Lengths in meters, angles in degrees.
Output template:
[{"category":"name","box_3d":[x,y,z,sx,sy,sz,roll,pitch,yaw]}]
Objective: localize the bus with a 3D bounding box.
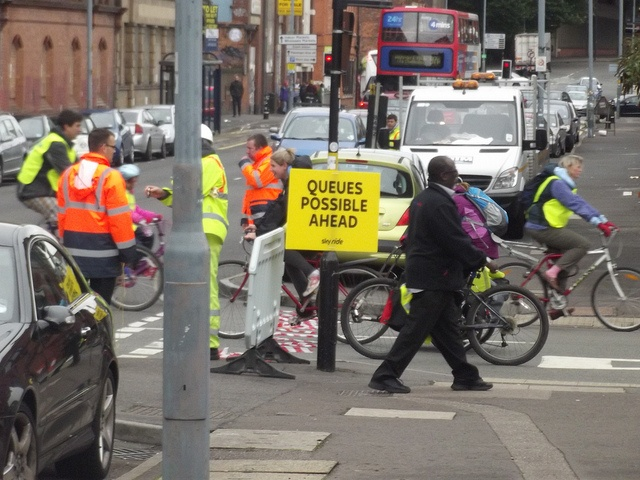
[{"category":"bus","box_3d":[3.268,-5.691,30.741,1.680,2.524,5.262,1,3,16]}]

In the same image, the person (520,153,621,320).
[{"category":"person","box_3d":[2.972,-0.010,12.449,1.028,1.918,1.088,7,14,9]}]

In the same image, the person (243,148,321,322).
[{"category":"person","box_3d":[-0.336,-0.119,11.314,0.833,1.874,0.894,4,18,-6]}]

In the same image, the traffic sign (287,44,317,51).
[{"category":"traffic sign","box_3d":[-0.643,-6.261,33.002,0.963,0.148,0.837,3,8,13]}]

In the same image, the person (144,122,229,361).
[{"category":"person","box_3d":[-1.468,-0.099,10.326,1.017,2.713,1.001,5,15,1]}]

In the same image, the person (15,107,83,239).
[{"category":"person","box_3d":[-3.396,-1.023,13.105,0.736,1.883,0.746,-5,16,-21]}]

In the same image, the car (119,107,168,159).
[{"category":"car","box_3d":[-5.723,-3.577,33.765,0.883,0.843,1.980,-2,8,5]}]

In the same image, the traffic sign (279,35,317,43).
[{"category":"traffic sign","box_3d":[-0.700,-6.415,32.633,1.145,0.299,0.773,0,8,-6]}]

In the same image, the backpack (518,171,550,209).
[{"category":"backpack","box_3d":[2.615,-0.572,12.465,0.353,0.477,0.505,-6,-12,35]}]

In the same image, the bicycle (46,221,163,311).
[{"category":"bicycle","box_3d":[-2.710,0.473,12.649,1.841,1.143,0.841,2,12,4]}]

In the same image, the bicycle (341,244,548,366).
[{"category":"bicycle","box_3d":[1.327,0.738,10.969,2.029,1.253,1.020,1,1,9]}]

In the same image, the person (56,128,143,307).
[{"category":"person","box_3d":[-2.011,-0.239,9.350,0.634,1.658,0.619,0,1,-26]}]

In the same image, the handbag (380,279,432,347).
[{"category":"handbag","box_3d":[0.843,0.685,10.019,0.621,0.614,0.394,2,11,0]}]

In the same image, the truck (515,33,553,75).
[{"category":"truck","box_3d":[7.218,-6.449,34.908,1.155,1.492,4.665,2,8,11]}]
